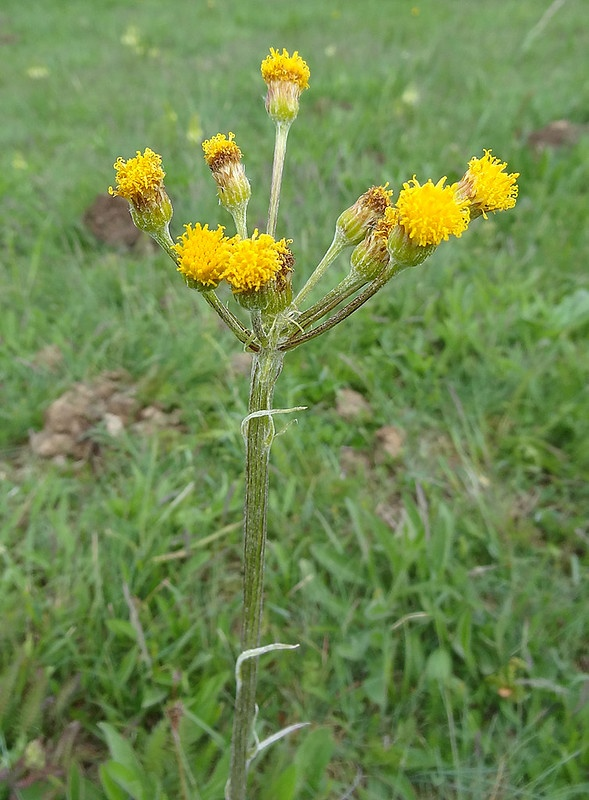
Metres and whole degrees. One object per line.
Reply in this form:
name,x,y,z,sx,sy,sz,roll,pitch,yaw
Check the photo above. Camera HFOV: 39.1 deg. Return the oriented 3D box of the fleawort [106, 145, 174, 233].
fleawort,-0.268,-0.379,1.451,0.084,0.124,0.172,-14,55,-5
